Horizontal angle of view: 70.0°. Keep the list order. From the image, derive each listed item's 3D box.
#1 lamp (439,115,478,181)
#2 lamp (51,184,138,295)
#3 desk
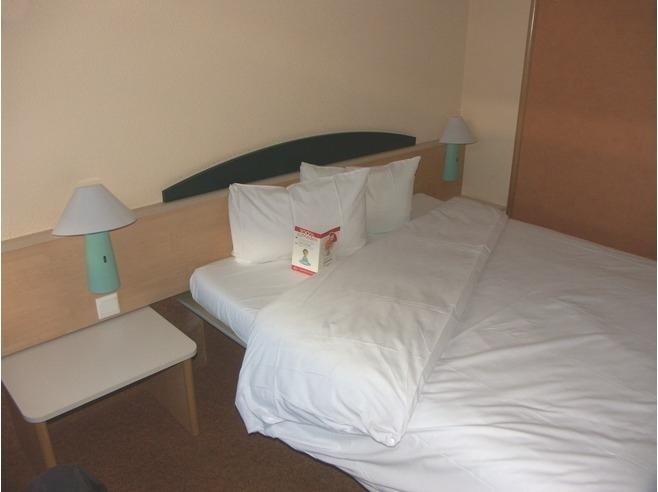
[{"bbox_3d":[0.988,-0.778,3.638,0.298,0.460,0.286,-24,34,-35],"label":"lamp"},{"bbox_3d":[-0.999,0.016,2.070,0.228,0.549,0.260,10,27,19],"label":"lamp"},{"bbox_3d":[-1.009,0.667,2.156,0.715,0.562,0.541,-25,39,-35],"label":"desk"}]
